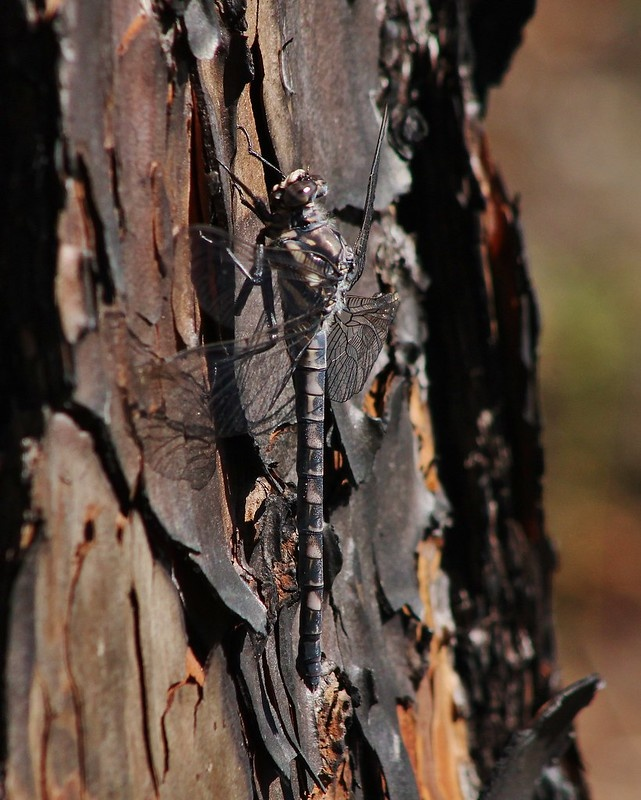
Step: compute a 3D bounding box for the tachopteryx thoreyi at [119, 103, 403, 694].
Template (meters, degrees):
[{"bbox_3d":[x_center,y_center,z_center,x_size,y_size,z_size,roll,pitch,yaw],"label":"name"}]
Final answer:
[{"bbox_3d":[-0.035,0.003,1.464,0.167,0.421,0.079,0,-3,-33],"label":"tachopteryx thoreyi"}]
